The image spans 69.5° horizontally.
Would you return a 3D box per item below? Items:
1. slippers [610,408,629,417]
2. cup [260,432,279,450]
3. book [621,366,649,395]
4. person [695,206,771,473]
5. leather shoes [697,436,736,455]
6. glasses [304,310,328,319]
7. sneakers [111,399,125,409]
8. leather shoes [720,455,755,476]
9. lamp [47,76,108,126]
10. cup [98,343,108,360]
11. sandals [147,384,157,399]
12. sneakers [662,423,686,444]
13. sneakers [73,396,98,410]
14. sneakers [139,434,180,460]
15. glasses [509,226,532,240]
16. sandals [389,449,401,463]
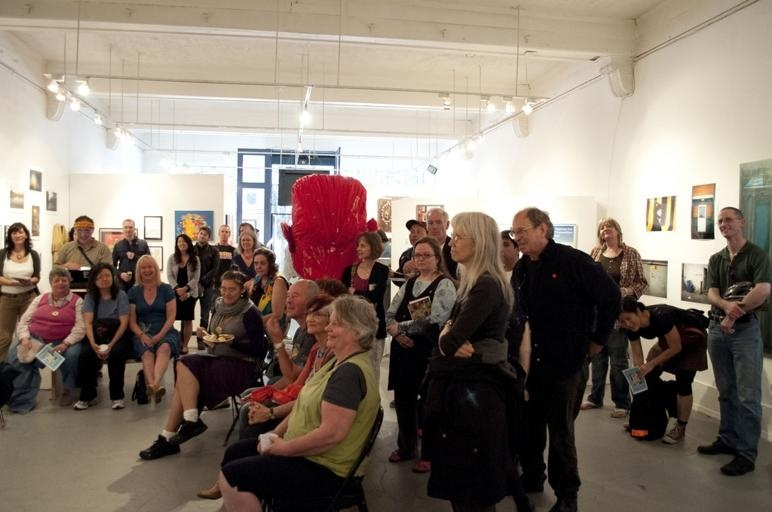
[{"bbox_3d":[2.782,1.865,6.632,0.184,0.071,0.086,5,-8,-35],"label":"slippers"},{"bbox_3d":[-0.874,1.362,4.115,0.112,0.118,0.147,-4,11,-23],"label":"cup"},{"bbox_3d":[2.712,1.363,6.005,0.254,0.337,0.171,4,11,19],"label":"book"},{"bbox_3d":[3.554,0.807,5.580,0.533,2.541,0.865,1,10,4],"label":"person"},{"bbox_3d":[3.452,2.001,5.866,0.422,0.184,0.144,2,-7,10],"label":"leather shoes"},{"bbox_3d":[-0.557,0.476,4.548,0.171,0.094,0.049,1,10,4],"label":"glasses"},{"bbox_3d":[-3.229,1.782,6.699,0.073,0.084,0.200,1,3,-7],"label":"sneakers"},{"bbox_3d":[3.441,2.053,5.411,0.326,0.129,0.156,-6,12,-6],"label":"leather shoes"},{"bbox_3d":[-5.771,-2.878,10.065,1.444,0.324,0.970,-11,8,40],"label":"lamp"},{"bbox_3d":[-3.379,1.142,6.637,0.150,0.158,0.150,15,3,-1],"label":"cup"},{"bbox_3d":[-2.674,1.546,6.351,0.087,0.139,0.055,-1,6,-42],"label":"sandals"},{"bbox_3d":[3.145,1.925,6.027,0.394,0.180,0.131,6,-6,-35],"label":"sneakers"},{"bbox_3d":[-3.635,1.789,6.714,0.098,0.109,0.265,-1,-8,21],"label":"sneakers"},{"bbox_3d":[-2.251,1.913,5.558,0.395,0.224,0.193,5,-6,-24],"label":"sneakers"},{"bbox_3d":[1.190,-0.198,4.772,0.135,0.078,0.126,3,-4,-35],"label":"glasses"},{"bbox_3d":[0.108,2.027,5.649,0.070,0.051,0.142,2,5,2],"label":"sandals"}]
